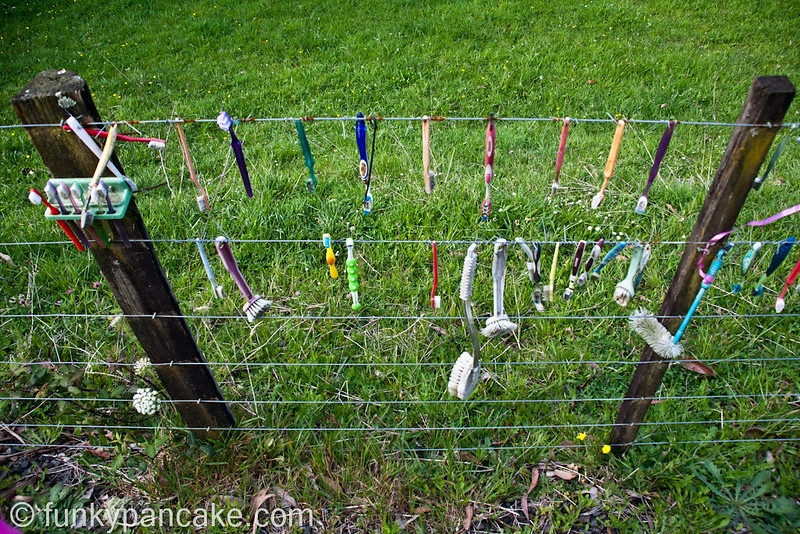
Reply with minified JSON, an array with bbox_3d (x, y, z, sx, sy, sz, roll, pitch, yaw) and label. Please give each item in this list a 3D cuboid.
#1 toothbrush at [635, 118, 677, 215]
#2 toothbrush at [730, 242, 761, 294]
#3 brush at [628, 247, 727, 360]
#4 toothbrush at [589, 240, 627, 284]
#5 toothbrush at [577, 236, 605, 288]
[{"bbox_3d":[1.955,-0.741,5.932,0.123,1.024,0.139,10,26,13],"label":"toothbrush"},{"bbox_3d":[2.353,0.024,5.291,0.067,0.352,0.090,27,22,32],"label":"toothbrush"},{"bbox_3d":[1.813,0.278,5.058,0.351,0.762,0.240,22,43,11],"label":"brush"},{"bbox_3d":[1.409,-0.023,5.280,0.085,0.319,0.069,31,16,-21],"label":"toothbrush"},{"bbox_3d":[1.271,-0.015,5.181,0.070,0.364,0.084,25,10,19],"label":"toothbrush"}]
